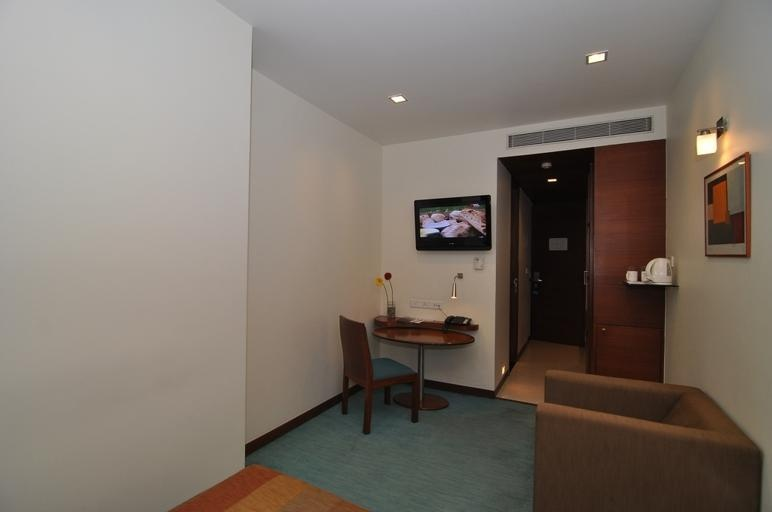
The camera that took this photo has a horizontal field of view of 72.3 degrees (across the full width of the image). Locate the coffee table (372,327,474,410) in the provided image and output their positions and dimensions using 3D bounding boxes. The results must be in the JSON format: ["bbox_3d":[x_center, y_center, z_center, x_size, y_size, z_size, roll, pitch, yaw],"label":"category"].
[{"bbox_3d":[0.369,1.157,5.428,1.086,0.683,1.059,2,-1,-44],"label":"coffee table"}]

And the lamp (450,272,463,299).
[{"bbox_3d":[0.759,0.325,5.844,0.133,0.309,0.106,-6,15,-36],"label":"lamp"}]

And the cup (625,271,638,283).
[{"bbox_3d":[2.236,0.191,4.860,0.140,0.114,0.091,0,-1,18],"label":"cup"}]

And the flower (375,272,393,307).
[{"bbox_3d":[-0.022,0.367,6.161,0.226,0.394,0.305,2,12,-3],"label":"flower"}]

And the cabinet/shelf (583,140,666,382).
[{"bbox_3d":[2.437,0.039,5.230,0.537,2.266,0.471,1,8,35],"label":"cabinet/shelf"}]

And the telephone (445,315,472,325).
[{"bbox_3d":[0.768,0.707,5.651,0.261,0.096,0.143,5,11,11],"label":"telephone"}]

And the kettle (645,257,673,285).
[{"bbox_3d":[2.376,0.135,4.625,0.242,0.229,0.177,-2,-4,24],"label":"kettle"}]

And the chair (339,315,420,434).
[{"bbox_3d":[-0.061,1.102,5.197,0.787,0.942,0.851,3,2,32],"label":"chair"}]

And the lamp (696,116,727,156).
[{"bbox_3d":[2.304,-0.846,3.746,0.173,0.229,0.220,-3,4,-41],"label":"lamp"}]
